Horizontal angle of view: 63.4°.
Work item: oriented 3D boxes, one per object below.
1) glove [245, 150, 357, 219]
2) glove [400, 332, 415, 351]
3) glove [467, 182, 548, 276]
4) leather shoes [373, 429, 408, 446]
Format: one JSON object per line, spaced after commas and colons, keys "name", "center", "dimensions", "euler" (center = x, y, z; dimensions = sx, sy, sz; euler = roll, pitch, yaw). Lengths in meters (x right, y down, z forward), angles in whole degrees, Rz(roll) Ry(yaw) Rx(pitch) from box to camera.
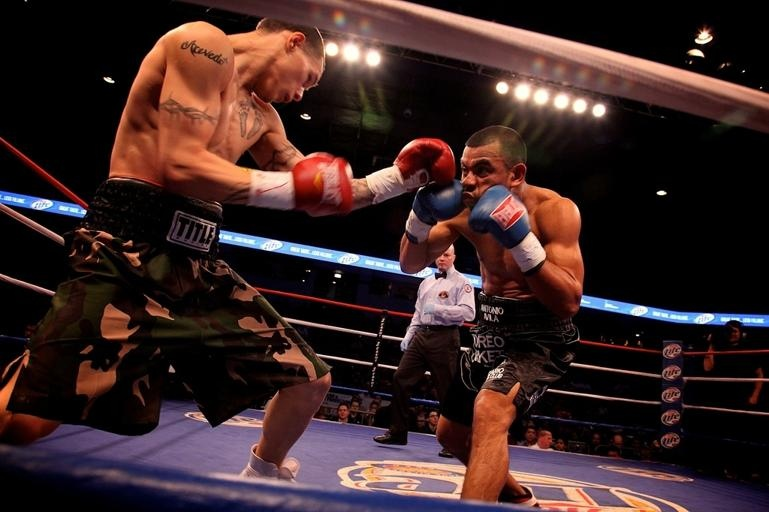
{"name": "glove", "center": [-0.565, -0.554, 4.772], "dimensions": [0.644, 0.436, 0.294], "euler": [0, -26, -11]}
{"name": "glove", "center": [0.300, 1.055, 7.708], "dimensions": [0.079, 0.214, 0.159], "euler": [27, -6, -22]}
{"name": "glove", "center": [1.030, -0.230, 5.117], "dimensions": [0.528, 0.318, 0.727], "euler": [42, -14, 42]}
{"name": "leather shoes", "center": [0.101, 2.034, 7.105], "dimensions": [0.460, 0.198, 0.149], "euler": [6, -10, 0]}
